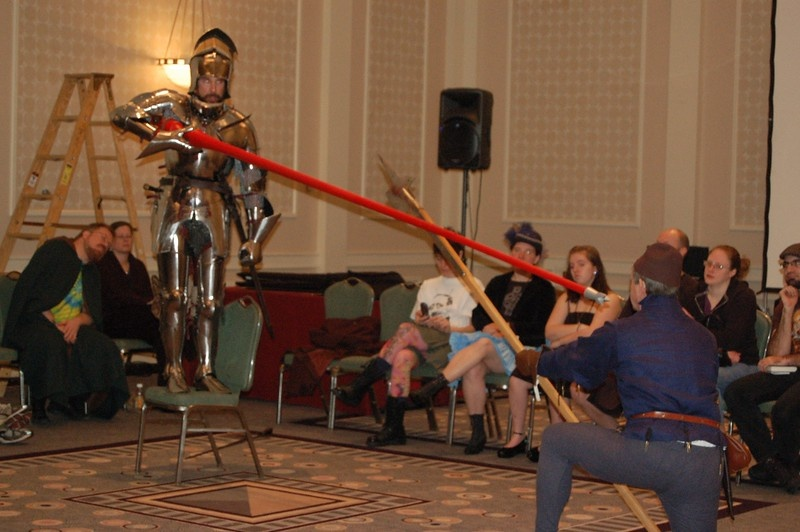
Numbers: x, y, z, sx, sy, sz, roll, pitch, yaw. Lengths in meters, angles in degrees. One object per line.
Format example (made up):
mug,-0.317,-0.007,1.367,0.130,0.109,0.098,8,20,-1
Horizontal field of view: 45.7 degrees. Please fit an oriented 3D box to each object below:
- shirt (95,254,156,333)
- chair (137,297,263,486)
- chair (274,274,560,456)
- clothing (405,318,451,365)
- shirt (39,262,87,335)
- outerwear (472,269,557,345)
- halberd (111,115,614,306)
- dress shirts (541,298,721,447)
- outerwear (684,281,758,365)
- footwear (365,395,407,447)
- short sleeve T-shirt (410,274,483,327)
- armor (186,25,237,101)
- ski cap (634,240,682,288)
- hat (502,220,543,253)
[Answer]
shirt,-2.283,0.177,7.962,0.408,0.655,0.657,6,-7,-31
chair,-1.213,0.756,5.869,0.762,1.087,0.789,2,2,25
chair,0.074,0.525,6.804,0.950,1.601,1.505,6,-3,45
clothing,0.264,0.572,6.879,0.336,0.143,0.337,-15,-49,24
shirt,-2.559,0.256,7.228,0.263,0.457,0.356,25,-18,13
outerwear,0.783,0.302,6.330,0.410,0.406,0.236,10,-23,37
halberd,-0.308,-0.497,8.346,2.986,0.385,0.892,25,-17,1
dress shirts,1.003,0.423,4.337,0.812,0.590,0.597,4,2,-14
outerwear,1.953,0.361,5.710,0.393,0.555,0.461,11,-10,-34
footwear,-0.049,1.126,6.628,0.395,0.412,0.208,1,-1,-10
short sleeve T-shirt,0.349,0.270,6.739,0.349,0.281,0.149,-2,-18,18
armor,-1.200,-1.389,6.544,0.329,0.474,0.501,3,-9,-11
ski cap,1.181,0.012,4.303,0.166,0.130,0.233,14,-10,34
hat,0.898,-0.203,6.679,0.229,0.123,0.232,6,6,13
